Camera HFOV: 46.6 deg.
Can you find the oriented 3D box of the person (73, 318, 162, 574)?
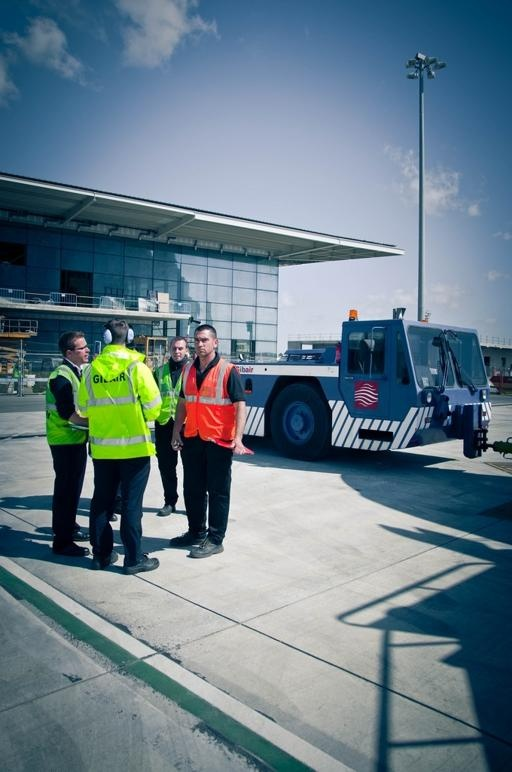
[{"bbox_3d":[-0.999,0.451,4.393,0.606,1.856,0.422,0,1,-16],"label":"person"}]

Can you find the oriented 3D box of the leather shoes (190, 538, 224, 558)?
[{"bbox_3d":[-0.407,1.334,4.864,0.108,0.131,0.284,-7,-11,41],"label":"leather shoes"}]

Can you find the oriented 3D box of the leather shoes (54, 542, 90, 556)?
[{"bbox_3d":[-1.470,1.319,4.803,0.281,0.117,0.106,3,-1,-10],"label":"leather shoes"}]

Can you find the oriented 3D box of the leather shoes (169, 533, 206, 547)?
[{"bbox_3d":[-0.585,1.319,5.138,0.284,0.114,0.111,5,-8,-31],"label":"leather shoes"}]

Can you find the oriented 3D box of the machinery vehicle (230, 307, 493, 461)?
[{"bbox_3d":[1.497,0.095,9.681,2.097,1.692,3.977,1,-2,-37],"label":"machinery vehicle"}]

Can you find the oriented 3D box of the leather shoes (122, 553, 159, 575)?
[{"bbox_3d":[-0.843,1.314,4.413,0.232,0.102,0.099,-2,4,-36],"label":"leather shoes"}]

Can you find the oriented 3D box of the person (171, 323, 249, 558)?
[{"bbox_3d":[-0.382,0.443,4.916,0.764,1.882,0.448,2,2,43],"label":"person"}]
